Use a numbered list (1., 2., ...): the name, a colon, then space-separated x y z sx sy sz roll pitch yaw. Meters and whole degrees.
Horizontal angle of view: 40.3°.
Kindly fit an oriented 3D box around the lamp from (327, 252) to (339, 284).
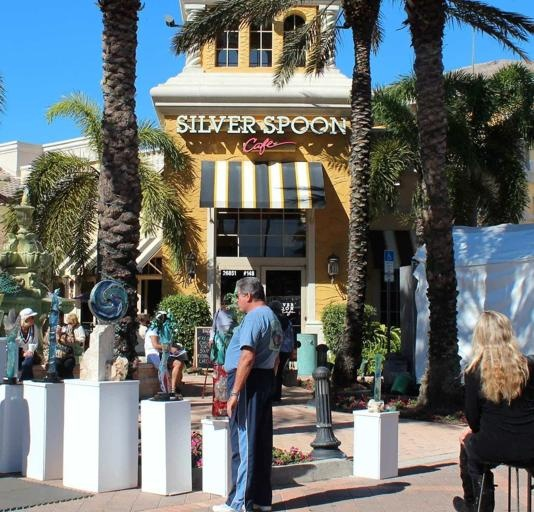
1. lamp: 1.821 0.327 19.615 0.328 0.794 0.336 0 -5 5

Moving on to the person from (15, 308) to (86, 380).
1. person: -3.420 1.393 11.383 1.056 1.549 0.792 7 -26 -26

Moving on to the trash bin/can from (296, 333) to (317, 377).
1. trash bin/can: 0.996 2.393 17.794 0.473 1.002 0.612 0 -5 2

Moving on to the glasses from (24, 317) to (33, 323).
1. glasses: -3.888 1.031 11.850 0.092 0.108 0.070 11 9 43
